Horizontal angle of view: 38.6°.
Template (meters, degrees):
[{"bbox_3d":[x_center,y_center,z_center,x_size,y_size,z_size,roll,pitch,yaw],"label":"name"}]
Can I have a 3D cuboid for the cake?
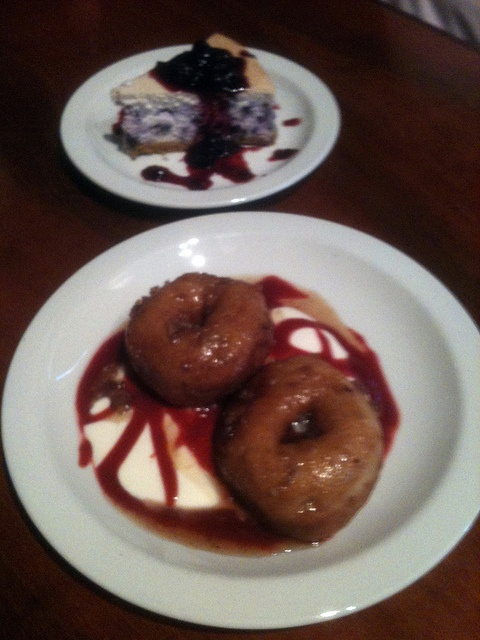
[{"bbox_3d":[-0.116,-0.678,2.201,0.489,0.168,0.375,-23,57,-16],"label":"cake"}]
